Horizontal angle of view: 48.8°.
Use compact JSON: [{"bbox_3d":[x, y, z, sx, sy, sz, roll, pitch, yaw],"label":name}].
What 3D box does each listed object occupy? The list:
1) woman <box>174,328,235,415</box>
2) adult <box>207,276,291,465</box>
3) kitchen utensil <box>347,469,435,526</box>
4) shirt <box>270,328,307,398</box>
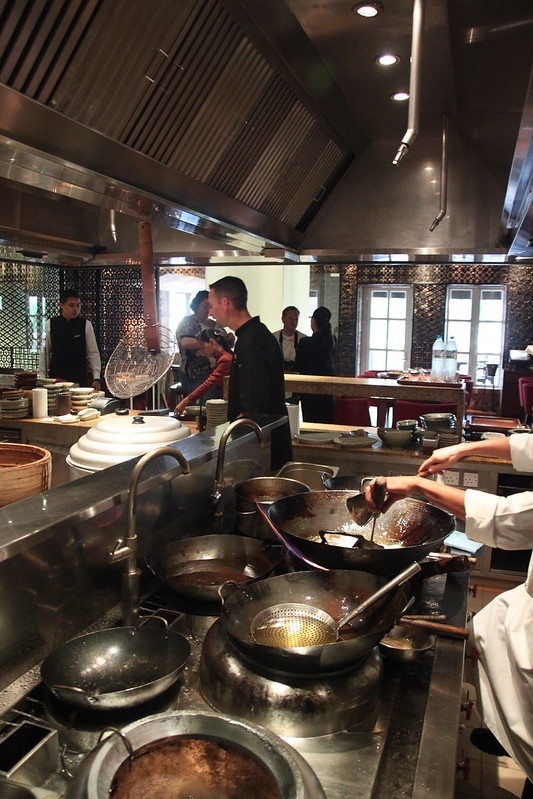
[{"bbox_3d":[-0.507,-0.261,4.816,0.361,0.826,0.623,8,17,2],"label":"woman"},{"bbox_3d":[-0.079,-0.076,3.216,0.427,1.148,0.508,4,24,14],"label":"adult"},{"bbox_3d":[0.300,0.251,1.552,0.073,0.102,0.139,7,-40,-18],"label":"kitchen utensil"},{"bbox_3d":[0.277,-0.435,6.586,0.455,0.753,0.275,0,-4,-2],"label":"shirt"}]
